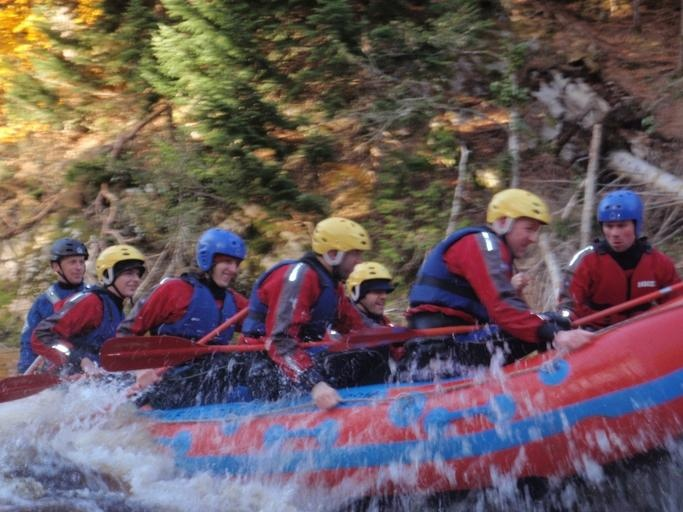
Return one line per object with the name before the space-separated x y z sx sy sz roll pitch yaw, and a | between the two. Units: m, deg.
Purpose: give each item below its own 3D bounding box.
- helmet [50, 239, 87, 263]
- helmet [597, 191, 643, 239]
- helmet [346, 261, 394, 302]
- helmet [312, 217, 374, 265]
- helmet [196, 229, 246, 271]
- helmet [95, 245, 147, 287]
helmet | -3.751 -0.060 10.021 0.441 0.289 0.309 7 -3 4
helmet | 3.070 -0.407 8.055 0.487 0.514 0.574 -2 8 15
helmet | 0.442 0.255 8.669 0.433 0.406 0.520 8 3 -15
helmet | 0.009 -0.171 7.911 0.679 0.477 0.473 2 11 -2
helmet | -1.416 -0.061 8.608 0.586 0.423 0.441 28 -2 4
helmet | -2.767 0.134 9.189 0.657 0.471 0.451 5 -11 -3
